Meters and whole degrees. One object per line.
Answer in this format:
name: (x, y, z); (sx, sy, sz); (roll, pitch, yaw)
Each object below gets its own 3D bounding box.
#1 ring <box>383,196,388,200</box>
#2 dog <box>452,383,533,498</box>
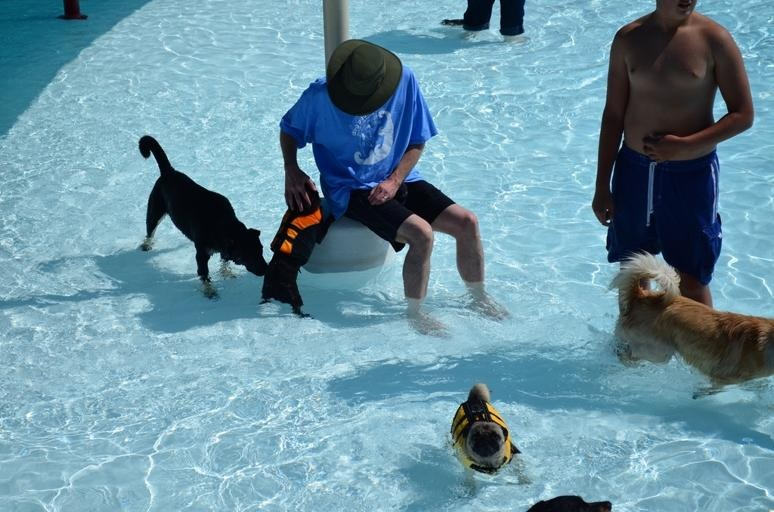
ring: (-0.020, -0.498, 6.582); (0.039, 0.033, 0.010); (10, -5, -5)
dog: (0.703, 1.258, 5.321); (0.407, 0.380, 0.763); (-17, 30, 9)
